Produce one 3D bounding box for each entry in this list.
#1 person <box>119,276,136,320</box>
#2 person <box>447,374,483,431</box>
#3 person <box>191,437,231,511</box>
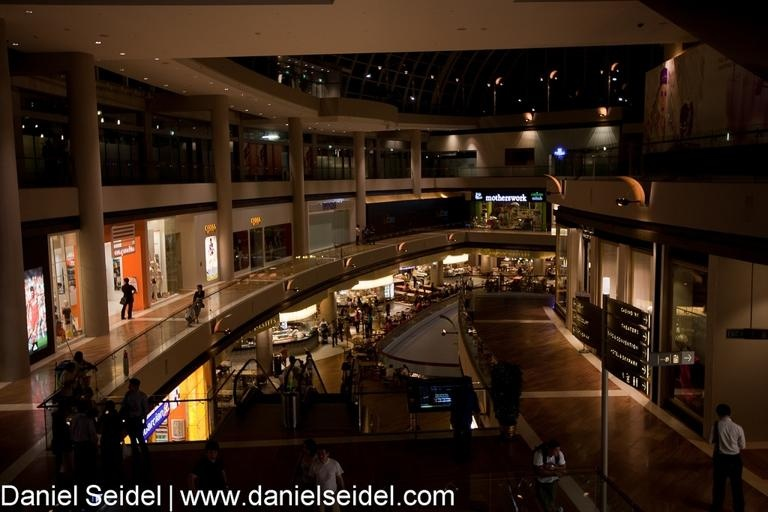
[{"bbox_3d":[-9.269,1.479,19.875,0.539,1.584,1.436,-7,11,-27],"label":"person"},{"bbox_3d":[1.840,3.409,12.537,0.575,1.094,1.406,-1,10,10],"label":"person"},{"bbox_3d":[-3.069,3.865,9.614,0.562,1.175,0.571,-6,11,-21],"label":"person"}]
